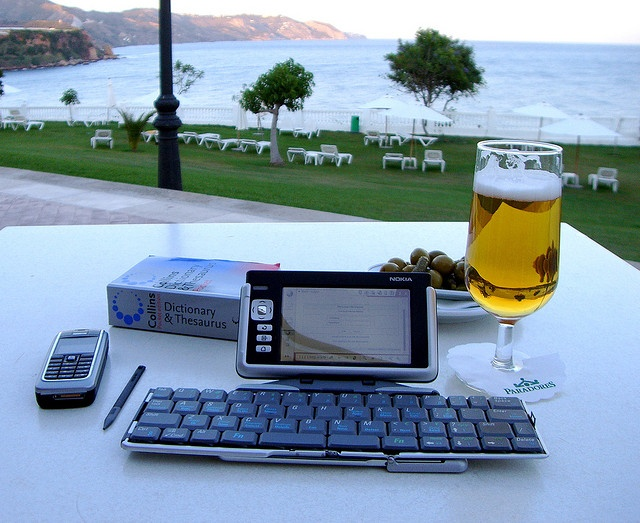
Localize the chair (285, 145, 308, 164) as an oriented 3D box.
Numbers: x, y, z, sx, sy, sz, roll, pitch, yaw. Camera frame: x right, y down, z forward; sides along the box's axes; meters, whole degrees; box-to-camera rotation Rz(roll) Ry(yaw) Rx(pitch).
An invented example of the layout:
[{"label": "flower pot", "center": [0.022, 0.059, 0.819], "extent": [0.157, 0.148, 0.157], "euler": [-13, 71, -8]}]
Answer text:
[{"label": "chair", "center": [-0.658, -3.013, 15.239], "extent": [0.540, 0.348, 0.837], "euler": [1, 0, 8]}]

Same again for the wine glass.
[{"label": "wine glass", "center": [0.303, 0.010, 0.877], "extent": [0.174, 0.366, 0.168], "euler": [1, 13, 18]}]

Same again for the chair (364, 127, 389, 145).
[{"label": "chair", "center": [1.994, -4.311, 19.113], "extent": [0.685, 0.535, 1.032], "euler": [5, 22, 11]}]

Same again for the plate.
[{"label": "plate", "center": [0.237, 0.034, 1.094], "extent": [0.237, 0.096, 0.151], "euler": [5, 14, 8]}]

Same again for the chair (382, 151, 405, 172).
[{"label": "chair", "center": [1.949, -2.682, 14.519], "extent": [0.721, 0.409, 0.675], "euler": [1, 11, 7]}]

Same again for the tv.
[{"label": "tv", "center": [0.029, 0.095, 0.837], "extent": [0.296, 0.154, 0.038], "euler": [2, -10, -6]}]

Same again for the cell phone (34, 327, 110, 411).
[{"label": "cell phone", "center": [-0.383, 0.159, 0.858], "extent": [0.082, 0.045, 0.161], "euler": [0, 25, -13]}]

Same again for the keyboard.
[{"label": "keyboard", "center": [0.023, 0.216, 0.749], "extent": [0.539, 0.046, 0.163], "euler": [1, 18, 0]}]

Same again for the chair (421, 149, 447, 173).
[{"label": "chair", "center": [2.958, -2.634, 14.122], "extent": [0.826, 0.684, 0.770], "euler": [1, 17, 7]}]
